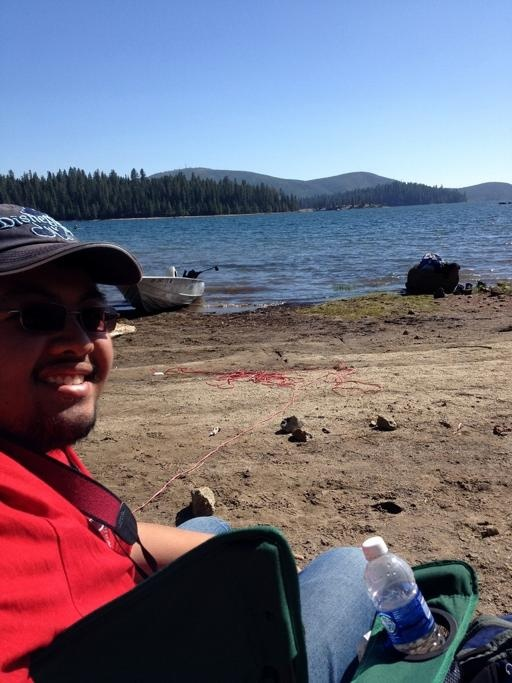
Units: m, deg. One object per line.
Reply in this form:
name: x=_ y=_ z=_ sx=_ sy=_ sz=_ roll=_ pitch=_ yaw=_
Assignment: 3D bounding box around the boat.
boat: x=-2.569 y=-1.355 z=16.633 sx=1.772 sy=1.197 sz=3.876 roll=-8 pitch=4 yaw=20
